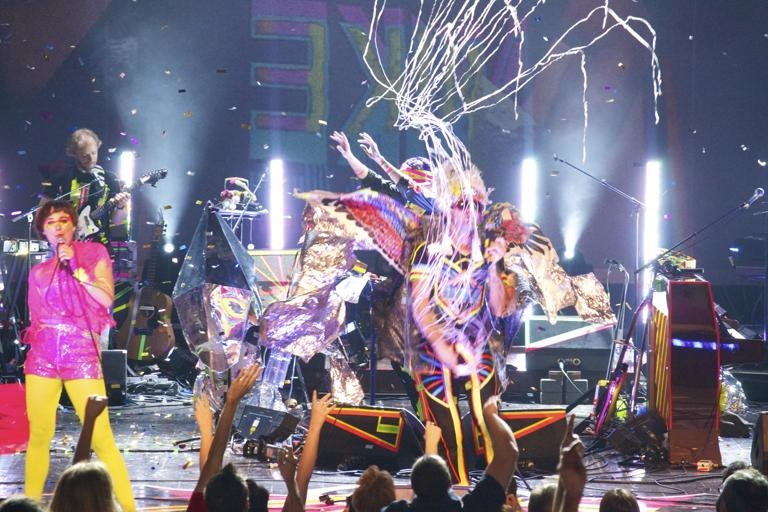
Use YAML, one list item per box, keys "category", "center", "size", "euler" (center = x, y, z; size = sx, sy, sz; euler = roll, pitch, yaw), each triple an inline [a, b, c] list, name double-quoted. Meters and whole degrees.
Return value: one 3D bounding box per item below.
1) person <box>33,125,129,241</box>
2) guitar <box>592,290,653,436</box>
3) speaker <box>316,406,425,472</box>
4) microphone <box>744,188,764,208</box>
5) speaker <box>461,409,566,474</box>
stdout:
- category: "person"
  center: [-4.005, -0.869, 11.303]
  size: [0.959, 1.818, 0.484]
  euler: [4, -12, -16]
- category: "guitar"
  center: [2.591, 1.282, 9.147]
  size: [0.493, 0.286, 2.029]
  euler: [-20, -44, -26]
- category: "speaker"
  center: [-0.140, 1.757, 8.536]
  size: [0.894, 0.433, 0.883]
  euler: [0, -5, 3]
- category: "microphone"
  center: [5.389, -0.835, 12.066]
  size: [0.148, 0.149, 0.747]
  euler: [-40, -3, 38]
- category: "speaker"
  center: [1.263, 1.894, 8.575]
  size: [1.206, 0.628, 0.824]
  euler: [1, -5, -10]
